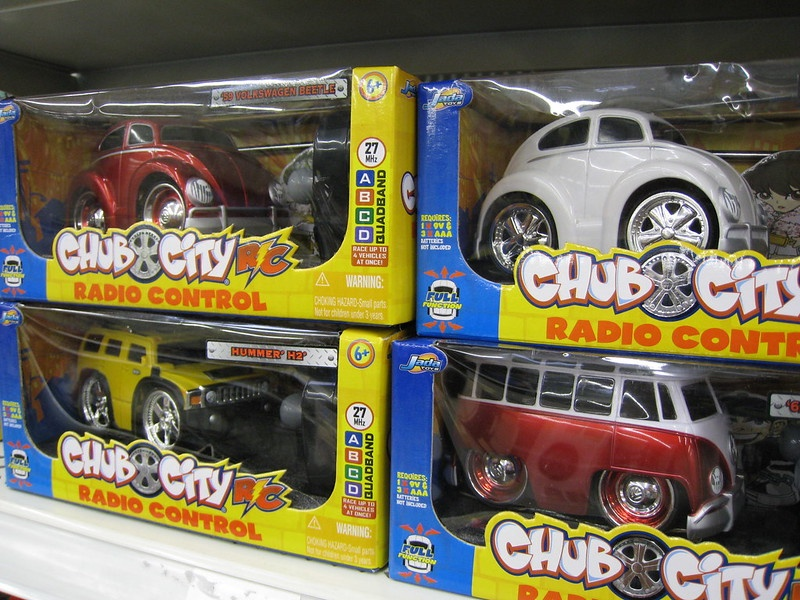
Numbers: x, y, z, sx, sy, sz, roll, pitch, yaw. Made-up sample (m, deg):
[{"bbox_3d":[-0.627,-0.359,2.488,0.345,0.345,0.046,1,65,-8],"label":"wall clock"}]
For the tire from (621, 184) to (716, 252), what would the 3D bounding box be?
[{"bbox_3d":[0.645,-0.200,1.643,0.145,0.156,0.053,3,3,19],"label":"tire"}]

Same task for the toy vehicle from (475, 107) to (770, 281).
[{"bbox_3d":[0.511,-0.227,1.692,0.572,0.332,0.339,1,1,27],"label":"toy vehicle"}]

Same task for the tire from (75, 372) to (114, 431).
[{"bbox_3d":[-0.974,0.325,2.232,0.174,0.213,0.039,1,0,32],"label":"tire"}]

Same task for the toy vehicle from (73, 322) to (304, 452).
[{"bbox_3d":[-0.673,0.261,2.141,0.806,0.354,0.166,0,-1,24],"label":"toy vehicle"}]

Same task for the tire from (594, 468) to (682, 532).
[{"bbox_3d":[0.575,0.489,1.678,0.145,0.139,0.049,2,8,22],"label":"tire"}]

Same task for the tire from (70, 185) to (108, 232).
[{"bbox_3d":[-0.959,-0.286,2.161,0.140,0.150,0.052,3,3,29],"label":"tire"}]

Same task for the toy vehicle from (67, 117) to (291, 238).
[{"bbox_3d":[-0.669,-0.358,2.108,0.559,0.301,0.338,4,10,21],"label":"toy vehicle"}]

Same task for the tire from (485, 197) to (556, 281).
[{"bbox_3d":[0.309,-0.150,1.832,0.181,0.202,0.184,1,28,-1],"label":"tire"}]
